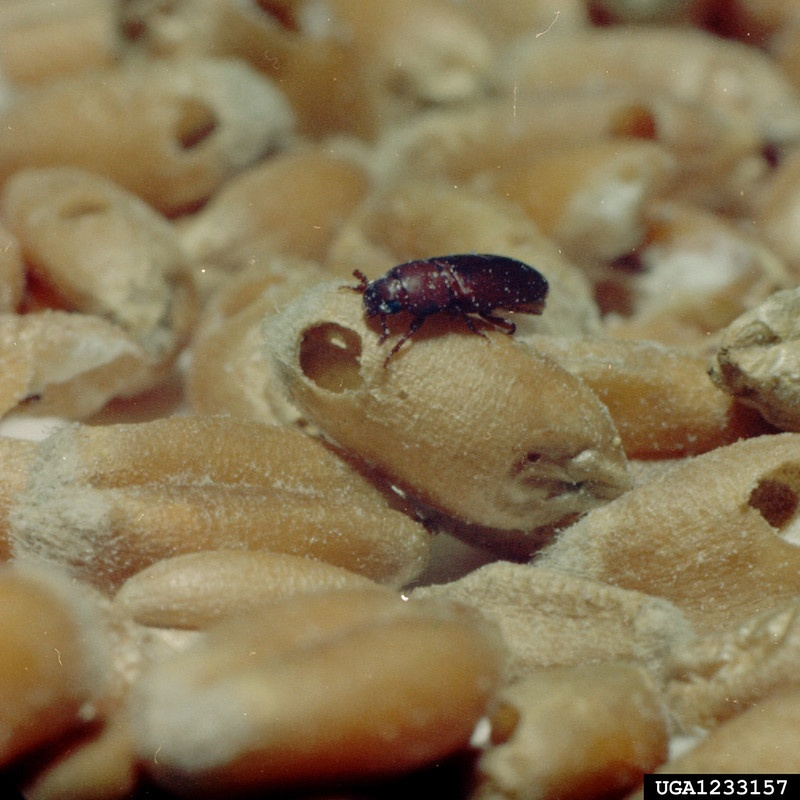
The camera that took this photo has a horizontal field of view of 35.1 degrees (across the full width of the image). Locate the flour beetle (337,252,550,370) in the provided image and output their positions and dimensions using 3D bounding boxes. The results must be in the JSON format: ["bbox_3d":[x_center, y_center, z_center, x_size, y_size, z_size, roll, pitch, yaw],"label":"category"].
[{"bbox_3d":[0.038,-0.074,0.850,0.127,0.029,0.075,-5,32,-16],"label":"flour beetle"}]
